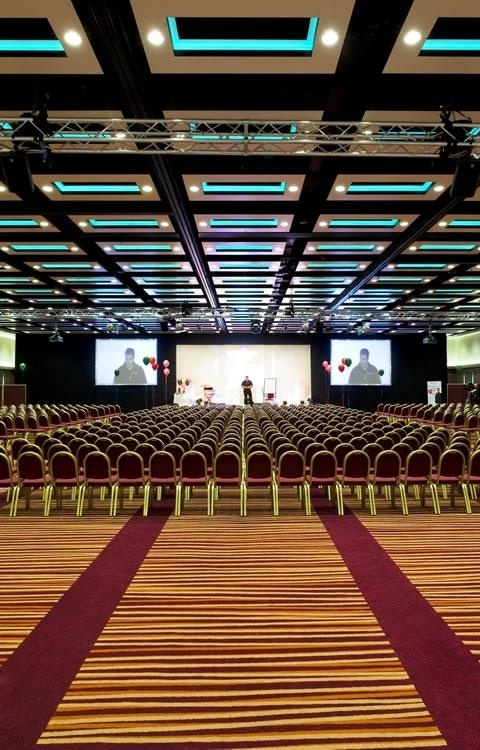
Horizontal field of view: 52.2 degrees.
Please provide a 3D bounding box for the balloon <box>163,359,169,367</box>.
[{"bbox_3d":[-4.010,-0.595,25.576,0.428,0.546,0.427,-1,5,-2],"label":"balloon"}]

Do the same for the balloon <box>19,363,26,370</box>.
[{"bbox_3d":[-13.182,-0.521,28.906,0.327,0.510,0.343,1,5,-1],"label":"balloon"}]

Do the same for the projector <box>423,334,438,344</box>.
[{"bbox_3d":[9.566,-1.743,24.513,0.762,0.399,1.126,-1,5,4],"label":"projector"}]

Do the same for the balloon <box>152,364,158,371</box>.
[{"bbox_3d":[-4.321,-0.400,24.305,0.305,0.387,0.299,0,1,-28],"label":"balloon"}]

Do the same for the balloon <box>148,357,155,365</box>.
[{"bbox_3d":[-4.461,-0.692,23.928,0.312,0.359,0.343,0,-2,-2],"label":"balloon"}]
